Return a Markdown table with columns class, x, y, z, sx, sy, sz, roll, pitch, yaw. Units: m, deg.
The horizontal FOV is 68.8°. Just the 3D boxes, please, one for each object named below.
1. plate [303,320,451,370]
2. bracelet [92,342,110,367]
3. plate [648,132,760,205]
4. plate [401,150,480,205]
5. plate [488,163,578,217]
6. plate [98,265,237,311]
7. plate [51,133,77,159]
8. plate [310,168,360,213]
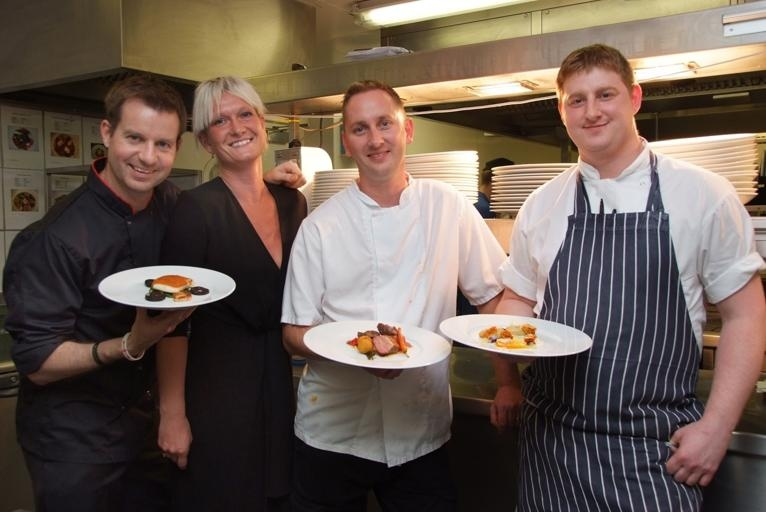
| class | x | y | z | sx | sy | sz | roll | pitch | yaw |
| --- | --- | --- | --- | --- | --- | --- | --- | --- | --- |
| plate | -0.016 | 0.269 | 1.699 | 0.436 | 0.104 | 0.301 | -3 | 10 | -4 |
| bracelet | -0.907 | 0.317 | 1.806 | 0.019 | 0.066 | 0.062 | -8 | 47 | -16 |
| plate | 1.214 | -0.273 | 2.058 | 0.338 | 0.180 | 0.329 | -2 | -2 | 15 |
| plate | 0.265 | -0.372 | 2.635 | 0.302 | 0.168 | 0.292 | -1 | 1 | -21 |
| plate | 0.610 | -0.317 | 2.497 | 0.288 | 0.119 | 0.278 | -1 | 0 | -17 |
| plate | -0.670 | 0.086 | 1.705 | 0.226 | 0.026 | 0.228 | 19 | 18 | 39 |
| plate | -2.307 | -0.809 | 4.041 | 0.046 | 0.149 | 0.171 | 0 | 2 | 37 |
| plate | -0.209 | -0.303 | 2.745 | 0.242 | 0.250 | 0.259 | -1 | -2 | -41 |
